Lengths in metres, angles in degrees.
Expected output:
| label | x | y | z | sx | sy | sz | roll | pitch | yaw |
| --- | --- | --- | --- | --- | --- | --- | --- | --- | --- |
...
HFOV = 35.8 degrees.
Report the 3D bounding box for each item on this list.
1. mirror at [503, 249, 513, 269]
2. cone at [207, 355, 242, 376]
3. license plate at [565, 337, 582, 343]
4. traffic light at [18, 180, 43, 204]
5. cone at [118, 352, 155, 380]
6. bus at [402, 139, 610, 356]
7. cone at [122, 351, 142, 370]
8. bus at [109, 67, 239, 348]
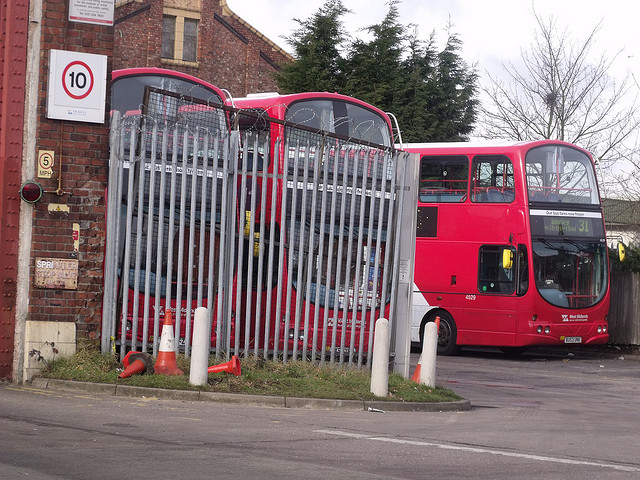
| label | x | y | z | sx | sy | sz | roll | pitch | yaw |
| --- | --- | --- | --- | --- | --- | --- | --- | --- | --- |
| mirror | 4.736 | 0.480 | 25.058 | 0.259 | 0.470 | 0.261 | 4 | 5 | 9 |
| cone | -1.424 | 1.925 | 14.928 | 0.518 | 0.233 | 0.233 | -16 | -28 | 11 |
| license plate | 6.564 | 2.599 | 25.733 | 0.663 | 0.166 | 0.039 | 0 | 7 | -38 |
| traffic light | -4.438 | -0.729 | 15.147 | 0.328 | 0.324 | 0.055 | -4 | 6 | -14 |
| cone | -2.709 | 1.844 | 14.715 | 0.285 | 0.305 | 0.513 | 15 | 26 | 29 |
| bus | 3.626 | 0.283 | 29.902 | 3.092 | 5.796 | 10.837 | 4 | -3 | -32 |
| cone | -2.892 | 1.782 | 14.925 | 0.233 | 0.263 | 0.086 | 13 | 10 | -12 |
| bus | -2.600 | -0.526 | 16.550 | 2.121 | 6.267 | 2.224 | 3 | 0 | -33 |
